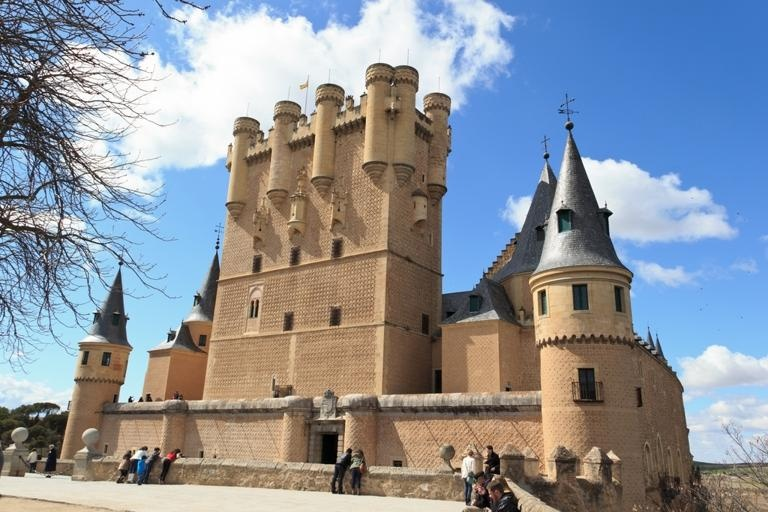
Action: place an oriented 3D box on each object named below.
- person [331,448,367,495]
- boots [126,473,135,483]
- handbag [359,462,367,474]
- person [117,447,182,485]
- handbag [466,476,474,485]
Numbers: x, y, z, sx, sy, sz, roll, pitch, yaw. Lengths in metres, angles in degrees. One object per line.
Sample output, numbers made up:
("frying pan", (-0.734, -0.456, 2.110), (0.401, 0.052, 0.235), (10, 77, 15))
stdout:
("person", (-1.219, 7.509, 23.871), (1.106, 1.525, 0.817), (5, -25, -10))
("boots", (-9.684, 8.469, 26.140), (0.224, 0.352, 0.559), (22, -32, -38))
("handbag", (-0.728, 7.423, 23.835), (0.311, 0.302, 0.071), (-11, 6, -38))
("person", (-8.984, 8.104, 26.409), (1.648, 1.432, 1.142), (10, -26, -20))
("handbag", (2.736, 7.067, 21.572), (0.255, 0.240, 0.058), (21, 2, -4))
